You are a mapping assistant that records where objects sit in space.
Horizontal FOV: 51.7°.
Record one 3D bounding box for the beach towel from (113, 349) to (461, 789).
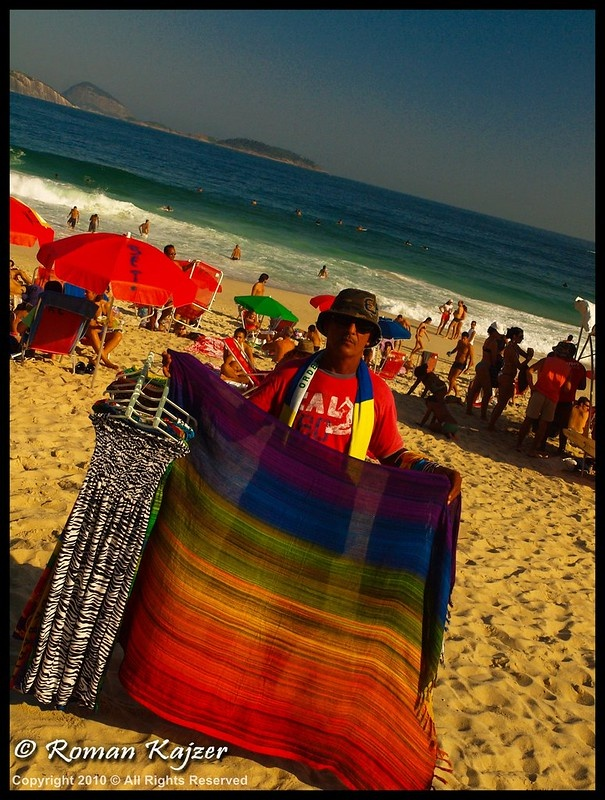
[{"bbox_3d":[-0.090,0.730,2.478,1.671,1.622,0.138,15,4,-10],"label":"beach towel"}]
